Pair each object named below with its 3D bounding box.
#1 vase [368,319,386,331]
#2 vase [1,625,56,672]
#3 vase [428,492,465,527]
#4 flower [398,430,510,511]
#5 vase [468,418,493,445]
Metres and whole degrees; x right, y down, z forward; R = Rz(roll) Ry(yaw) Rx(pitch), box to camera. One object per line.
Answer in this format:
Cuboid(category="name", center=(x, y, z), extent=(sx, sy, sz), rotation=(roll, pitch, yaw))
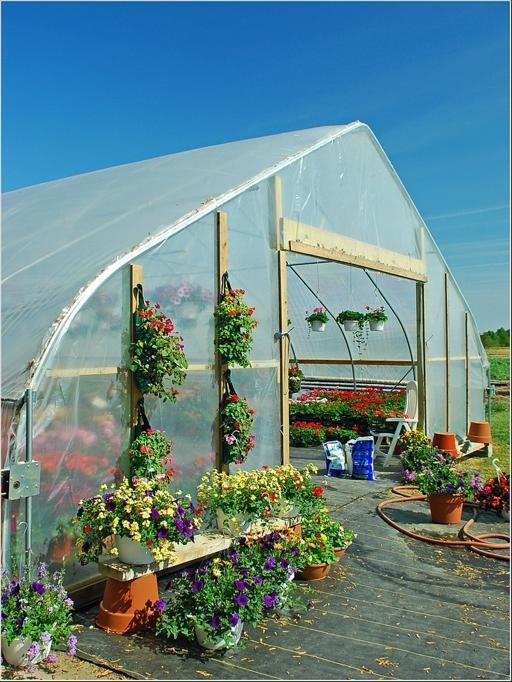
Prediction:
Cuboid(category="vase", center=(2.031, -0.260, 10.116), extent=(0.266, 0.169, 0.262), rotation=(2, -3, -29))
Cuboid(category="vase", center=(-1.218, 1.660, 3.170), extent=(0.244, 0.118, 0.214), rotation=(1, -4, -15))
Cuboid(category="vase", center=(1.839, 1.602, 5.696), extent=(0.317, 0.232, 0.312), rotation=(2, -9, -10))
Cuboid(category="flower", center=(2.015, 1.375, 5.936), extent=(0.947, 0.475, 0.937), rotation=(14, 8, -20))
Cuboid(category="vase", center=(3.503, 1.436, 9.300), extent=(0.355, 0.295, 0.352), rotation=(-3, 5, -41))
